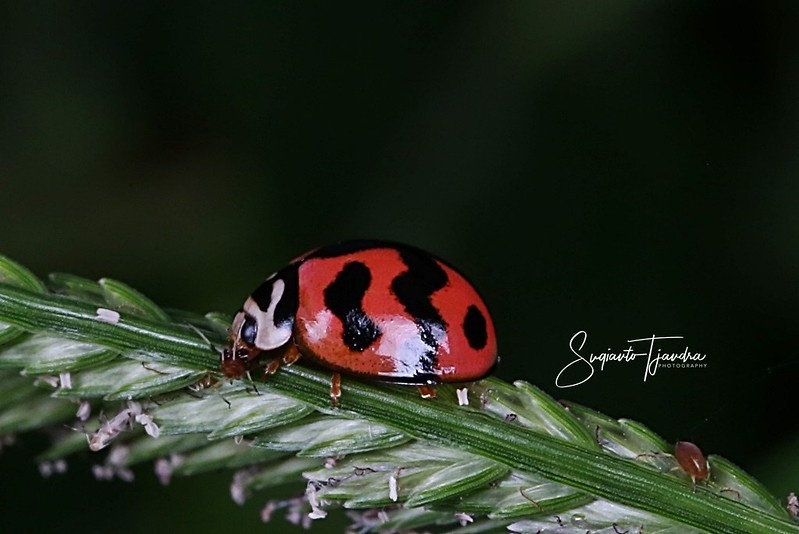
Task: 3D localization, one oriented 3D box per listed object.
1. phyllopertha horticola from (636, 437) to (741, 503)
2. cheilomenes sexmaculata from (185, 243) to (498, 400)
[{"bbox_3d":[0.859,0.613,2.412,0.225,0.130,0.074,0,6,16],"label":"phyllopertha horticola"},{"bbox_3d":[-0.127,0.164,2.556,0.885,0.479,0.429,-1,6,6],"label":"cheilomenes sexmaculata"}]
